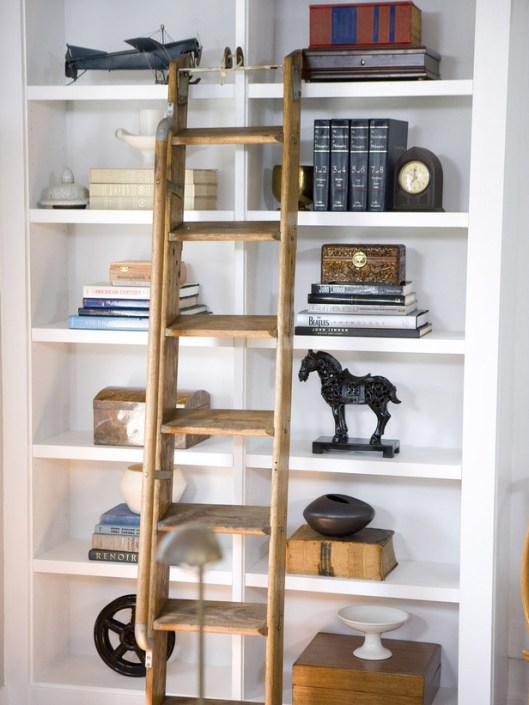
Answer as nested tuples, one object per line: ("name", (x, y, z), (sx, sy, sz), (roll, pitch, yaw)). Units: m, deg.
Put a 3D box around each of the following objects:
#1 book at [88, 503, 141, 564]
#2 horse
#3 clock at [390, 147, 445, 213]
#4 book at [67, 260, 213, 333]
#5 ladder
("book", (-0.480, 0.582, 2.524), (0.172, 0.101, 0.166), (2, 3, 13))
("horse", (0.288, 0.135, 2.497), (0.321, 0.276, 0.086), (2, 9, 19))
("clock", (0.446, -0.498, 2.230), (0.150, 0.180, 0.114), (-2, 11, -1))
("book", (-0.406, -0.162, 2.464), (0.291, 0.148, 0.279), (1, 3, 10))
("ladder", (-0.111, 0.078, 1.949), (0.404, 1.652, 0.506), (0, 11, 5))
